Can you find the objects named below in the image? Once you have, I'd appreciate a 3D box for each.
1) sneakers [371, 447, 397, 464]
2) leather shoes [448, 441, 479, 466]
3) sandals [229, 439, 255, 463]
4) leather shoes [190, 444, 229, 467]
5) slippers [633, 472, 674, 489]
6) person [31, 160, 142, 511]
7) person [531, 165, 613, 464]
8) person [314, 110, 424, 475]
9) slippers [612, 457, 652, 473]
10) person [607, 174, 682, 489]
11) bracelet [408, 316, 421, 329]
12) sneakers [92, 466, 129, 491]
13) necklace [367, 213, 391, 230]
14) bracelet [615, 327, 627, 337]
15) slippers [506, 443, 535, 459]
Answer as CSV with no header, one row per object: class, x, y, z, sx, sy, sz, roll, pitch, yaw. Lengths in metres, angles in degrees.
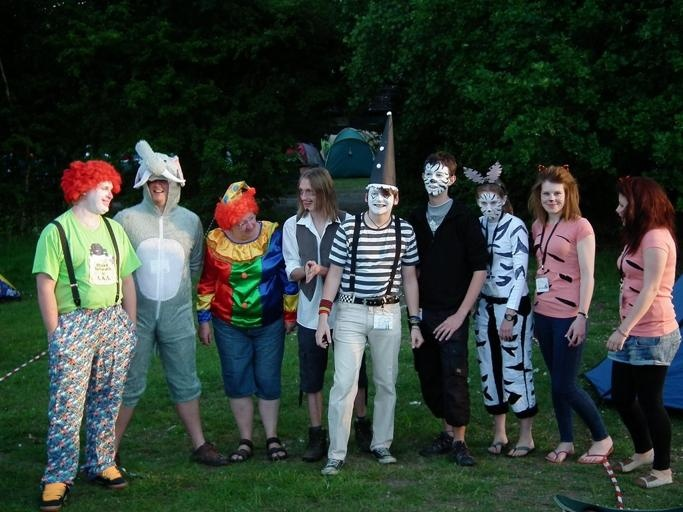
sneakers,0.380,1.854,7.354,0.258,0.106,0.107,-5,2,43
leather shoes,1.116,1.823,7.298,0.108,0.136,0.311,-6,-2,-14
sandals,-0.944,1.827,7.485,0.156,0.162,0.322,4,14,24
leather shoes,-1.248,1.856,7.431,0.321,0.132,0.171,0,1,31
slippers,2.673,1.907,6.776,0.296,0.203,0.129,0,-3,6
person,-2.178,0.622,6.730,1.045,2.772,0.685,-8,14,-29
person,2.074,0.526,7.255,0.526,2.622,0.893,-6,13,-18
person,0.247,0.358,7.191,1.037,3.137,0.734,-4,12,-13
slippers,2.606,1.854,7.072,0.315,0.097,0.135,-2,-2,-9
person,2.629,0.634,6.846,0.593,2.566,0.763,3,13,19
bracelet,0.664,0.601,7.268,0.094,0.090,0.102,2,-6,-7
sneakers,-2.028,1.942,6.966,0.341,0.152,0.154,5,6,22
necklace,0.319,-0.312,7.168,0.133,0.101,0.176,3,11,0
bracelet,2.377,0.640,6.733,0.080,0.021,0.065,48,10,28
slippers,1.701,1.831,7.441,0.247,0.060,0.109,-2,9,-19
